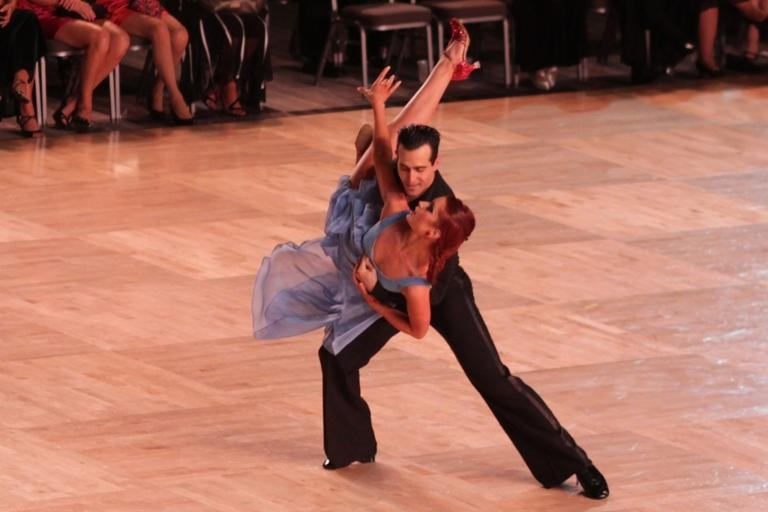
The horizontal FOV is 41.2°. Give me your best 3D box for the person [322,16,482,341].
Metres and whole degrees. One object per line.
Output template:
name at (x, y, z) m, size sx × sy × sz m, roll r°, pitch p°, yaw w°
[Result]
person at (0.080, -0.327, 4.040) m, size 0.839 × 1.103 × 0.531 m, roll 5°, pitch 6°, yaw -5°
